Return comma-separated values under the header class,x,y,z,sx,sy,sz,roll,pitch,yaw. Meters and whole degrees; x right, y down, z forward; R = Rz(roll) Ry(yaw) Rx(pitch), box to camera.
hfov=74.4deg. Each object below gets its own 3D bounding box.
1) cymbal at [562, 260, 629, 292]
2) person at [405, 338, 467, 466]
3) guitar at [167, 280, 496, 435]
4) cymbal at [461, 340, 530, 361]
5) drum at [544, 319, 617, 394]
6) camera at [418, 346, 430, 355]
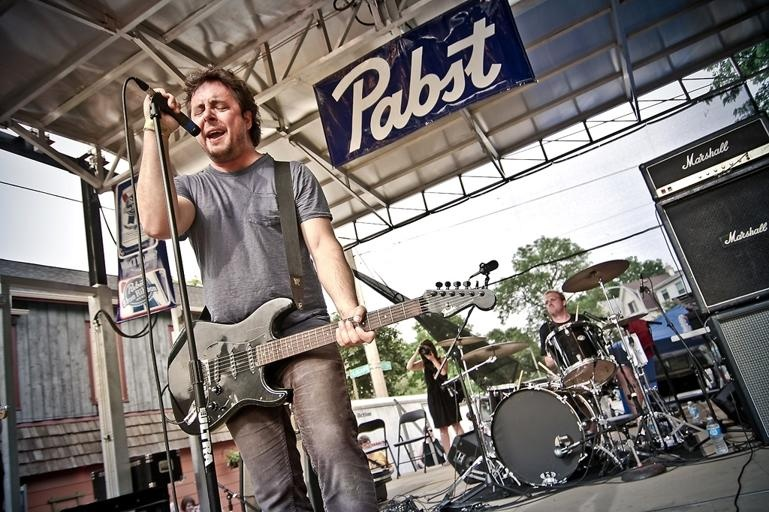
class,x,y,z,sx,sy,sz,roll,pitch,yaw
cymbal,2.917,0.273,6.998,0.954,0.459,0.408,2,2,30
person,0.854,2.340,8.474,0.874,2.279,0.797,0,1,4
guitar,-0.564,0.638,3.472,2.158,0.745,0.491,-18,-20,12
cymbal,1.580,1.294,6.966,0.485,0.120,0.494,-10,-10,-8
drum,2.263,1.147,6.201,0.769,0.609,0.775,-5,-42,-4
camera,0.675,1.582,8.491,0.153,0.157,0.110,14,22,22
